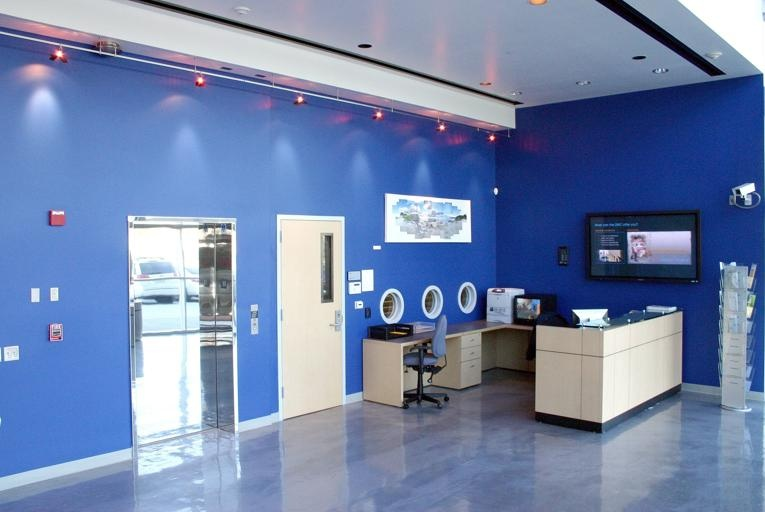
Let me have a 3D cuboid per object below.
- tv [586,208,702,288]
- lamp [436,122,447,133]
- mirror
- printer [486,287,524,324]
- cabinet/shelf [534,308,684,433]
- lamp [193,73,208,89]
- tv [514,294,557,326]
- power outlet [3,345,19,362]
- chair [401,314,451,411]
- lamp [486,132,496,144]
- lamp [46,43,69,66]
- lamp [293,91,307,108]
[{"bbox_3d":[4.584,-0.157,9.805,1.550,0.964,0.117,0,3,30],"label":"tv"},{"bbox_3d":[1.079,-2.323,10.277,0.238,0.207,0.073,-8,23,-24],"label":"lamp"},{"bbox_3d":[-2.607,0.948,7.545,1.441,3.003,0.468,-5,10,-27],"label":"mirror"},{"bbox_3d":[2.250,0.950,10.879,0.580,0.638,0.768,0,-1,36],"label":"printer"},{"bbox_3d":[3.750,1.678,9.219,3.356,1.460,1.180,-1,0,-45],"label":"cabinet/shelf"},{"bbox_3d":[-2.376,-2.312,7.488,0.159,0.142,0.104,2,1,-32],"label":"lamp"},{"bbox_3d":[2.925,0.987,10.697,0.701,0.539,0.634,2,-3,-34],"label":"tv"},{"bbox_3d":[-4.182,1.099,6.421,0.162,0.185,0.022,-5,10,-30],"label":"power outlet"},{"bbox_3d":[0.717,1.619,9.171,0.733,1.459,1.064,1,8,6],"label":"chair"},{"bbox_3d":[2.190,-2.364,11.331,0.054,0.182,0.194,6,1,-42],"label":"lamp"},{"bbox_3d":[-3.728,-2.339,6.550,0.188,0.179,0.210,-4,9,-27],"label":"lamp"},{"bbox_3d":[-1.194,-2.324,8.325,0.210,0.162,0.066,4,7,15],"label":"lamp"}]
